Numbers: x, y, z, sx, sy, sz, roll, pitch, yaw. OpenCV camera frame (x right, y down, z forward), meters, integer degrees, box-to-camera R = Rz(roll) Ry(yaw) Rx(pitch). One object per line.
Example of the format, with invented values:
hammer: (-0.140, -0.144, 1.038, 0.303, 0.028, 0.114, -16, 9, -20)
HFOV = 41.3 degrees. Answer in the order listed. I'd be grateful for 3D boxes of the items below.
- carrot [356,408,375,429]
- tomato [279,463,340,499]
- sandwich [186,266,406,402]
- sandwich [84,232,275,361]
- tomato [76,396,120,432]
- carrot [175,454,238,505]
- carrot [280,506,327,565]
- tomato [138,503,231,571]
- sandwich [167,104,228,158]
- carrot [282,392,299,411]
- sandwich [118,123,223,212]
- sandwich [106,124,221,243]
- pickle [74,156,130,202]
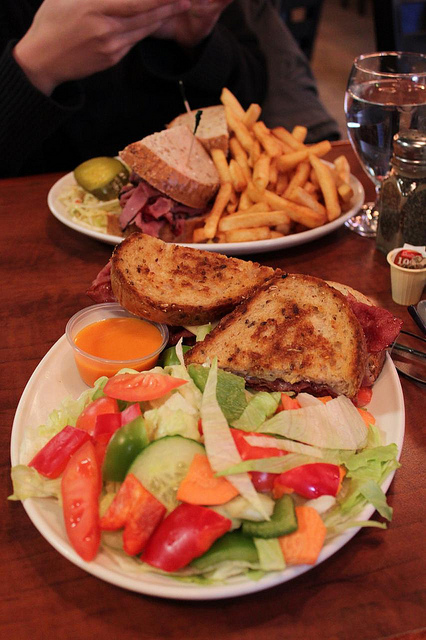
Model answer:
carrot: (0.346, 0.224, 1.294, 0.036, 0.009, 0.033, -4, 36, -49)
tomato: (0.185, 0.303, 1.080, 0.118, 0.041, 0.064, -5, 49, 0)
sandwich: (0.186, 0.038, 1.434, 0.464, 0.108, 0.452, 30, 59, 29)
sandwich: (-0.042, -0.080, 1.661, 0.491, 0.108, 0.345, 12, 37, 28)
tomato: (-0.236, 0.191, 1.187, 0.067, 0.047, 0.083, 25, 65, 13)
carrot: (-0.022, 0.303, 1.030, 0.091, 0.023, 0.099, -34, 54, -23)
carrot: (0.165, 0.382, 1.017, 0.094, 0.018, 0.135, -17, 23, 15)
tomato: (-0.042, 0.383, 0.999, 0.152, 0.052, 0.158, -16, 21, 27)
sandwich: (-0.023, -0.873, 2.539, 0.333, 0.078, 0.328, -19, 35, -1)
carrot: (0.161, 0.178, 1.187, 0.036, 0.040, 0.047, 3, 49, 7)
sandwich: (-0.158, -0.608, 2.246, 0.392, 0.117, 0.442, 52, 32, 8)
sandwich: (-0.184, -0.505, 2.333, 0.416, 0.206, 0.525, 15, 72, 1)
pickle: (-0.510, -0.650, 2.500, 0.221, 0.051, 0.196, 29, 82, 28)
